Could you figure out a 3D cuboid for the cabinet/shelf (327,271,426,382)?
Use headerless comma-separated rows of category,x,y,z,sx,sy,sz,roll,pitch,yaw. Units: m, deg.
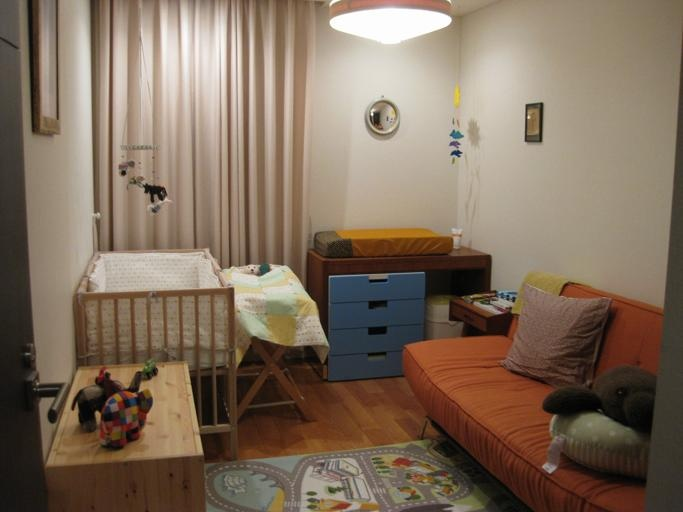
cabinet/shelf,0.217,0.589,4.408,0.857,0.942,0.501,0,5,-21

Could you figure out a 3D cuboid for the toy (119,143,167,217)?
toy,-1.468,-0.560,3.752,0.333,0.558,0.632,-4,12,-21

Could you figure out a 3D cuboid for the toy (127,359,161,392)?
toy,-0.992,0.606,2.518,0.059,0.109,0.239,7,23,21

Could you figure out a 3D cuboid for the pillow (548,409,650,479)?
pillow,1.174,0.829,2.239,0.414,0.171,0.424,1,-3,-33

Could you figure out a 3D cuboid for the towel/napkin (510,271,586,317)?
towel/napkin,1.401,0.290,3.501,0.071,0.331,0.309,9,7,-35

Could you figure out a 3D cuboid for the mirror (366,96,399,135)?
mirror,0.364,-1.293,4.570,0.313,0.337,0.045,-2,9,-21

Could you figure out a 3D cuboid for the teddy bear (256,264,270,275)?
teddy bear,-0.638,0.099,4.040,0.078,0.090,0.092,-1,-29,-2

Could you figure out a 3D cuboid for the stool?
stool,-0.480,0.654,3.694,0.651,0.947,0.817,-3,11,-18

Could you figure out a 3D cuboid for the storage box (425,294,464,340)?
storage box,0.878,0.522,4.511,0.314,0.457,0.329,-1,5,-8

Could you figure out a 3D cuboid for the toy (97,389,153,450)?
toy,-0.890,0.659,2.083,0.163,0.207,0.254,4,0,16

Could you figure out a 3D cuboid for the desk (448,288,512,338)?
desk,1.073,0.457,3.882,0.309,0.420,0.425,-1,6,-12

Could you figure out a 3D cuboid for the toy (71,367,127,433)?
toy,-1.027,0.611,2.163,0.244,0.237,0.140,-9,21,-35

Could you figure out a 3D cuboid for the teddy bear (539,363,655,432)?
teddy bear,1.243,0.655,2.332,0.560,0.235,0.570,-17,-18,26

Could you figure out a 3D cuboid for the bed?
bed,-1.213,0.528,3.467,0.841,1.035,1.483,-1,7,-11

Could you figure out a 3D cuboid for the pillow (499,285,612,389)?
pillow,1.290,0.508,3.096,0.294,0.559,0.596,3,2,-29
